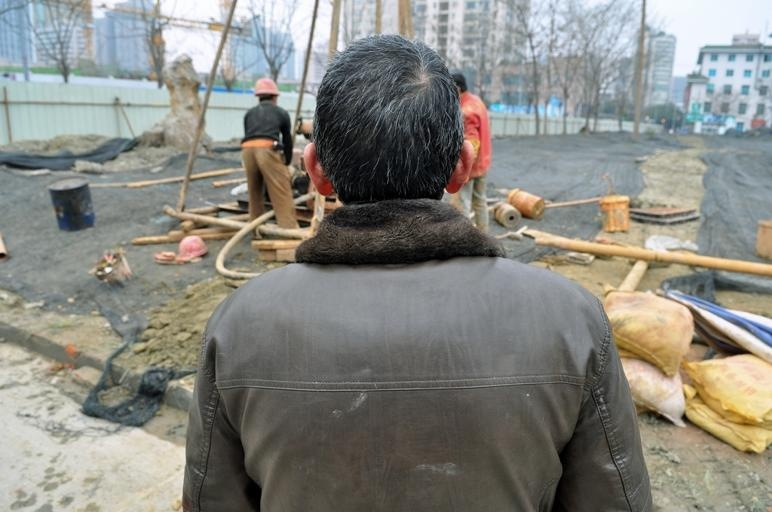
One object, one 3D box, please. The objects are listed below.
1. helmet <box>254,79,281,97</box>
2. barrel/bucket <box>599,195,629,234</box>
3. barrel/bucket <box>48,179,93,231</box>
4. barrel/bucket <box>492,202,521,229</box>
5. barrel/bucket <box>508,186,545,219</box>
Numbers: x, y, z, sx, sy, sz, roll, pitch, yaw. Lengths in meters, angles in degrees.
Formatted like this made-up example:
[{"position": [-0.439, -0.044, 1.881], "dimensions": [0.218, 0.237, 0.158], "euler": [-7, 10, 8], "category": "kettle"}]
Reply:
[{"position": [-1.936, -2.746, 9.974], "dimensions": [0.294, 0.226, 0.410], "euler": [3, 20, 4], "category": "helmet"}, {"position": [3.666, -0.669, 9.601], "dimensions": [0.484, 0.600, 0.544], "euler": [-1, 11, 17], "category": "barrel/bucket"}, {"position": [-5.299, -0.875, 10.214], "dimensions": [0.638, 0.740, 0.644], "euler": [2, 25, -1], "category": "barrel/bucket"}, {"position": [2.071, -0.698, 10.468], "dimensions": [0.396, 0.472, 0.521], "euler": [-8, 13, -10], "category": "barrel/bucket"}, {"position": [2.540, -0.929, 10.800], "dimensions": [0.394, 0.422, 0.578], "euler": [21, 8, -31], "category": "barrel/bucket"}]
